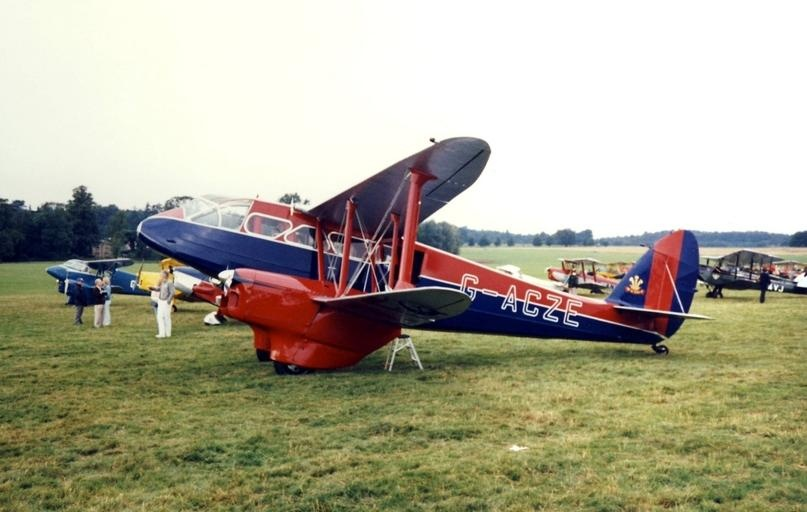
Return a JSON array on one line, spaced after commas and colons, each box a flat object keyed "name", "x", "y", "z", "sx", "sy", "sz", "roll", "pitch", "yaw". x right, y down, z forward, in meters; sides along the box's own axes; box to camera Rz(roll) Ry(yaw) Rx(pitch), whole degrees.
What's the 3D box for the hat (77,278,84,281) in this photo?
[{"name": "hat", "x": -9.985, "y": 0.712, "z": 19.026, "sx": 0.109, "sy": 0.058, "sz": 0.133, "roll": 6, "pitch": -2, "yaw": -42}]
